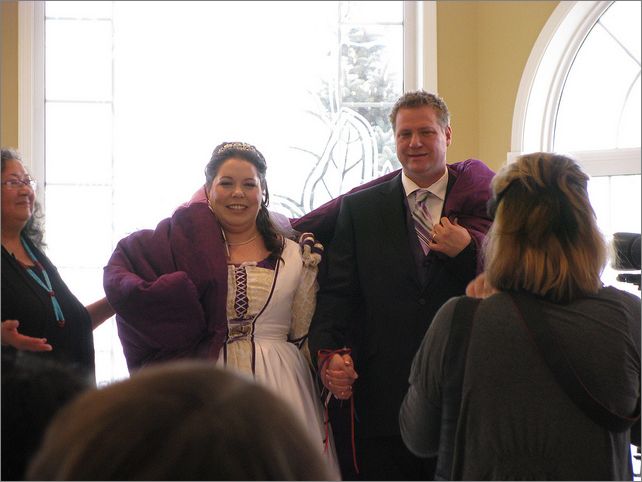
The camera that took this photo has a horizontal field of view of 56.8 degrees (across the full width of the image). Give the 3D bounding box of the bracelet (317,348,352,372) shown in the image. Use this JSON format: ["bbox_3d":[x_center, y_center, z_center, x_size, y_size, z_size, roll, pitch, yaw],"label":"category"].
[{"bbox_3d":[0.039,0.406,2.015,0.081,0.084,0.035,6,-8,-18],"label":"bracelet"}]
